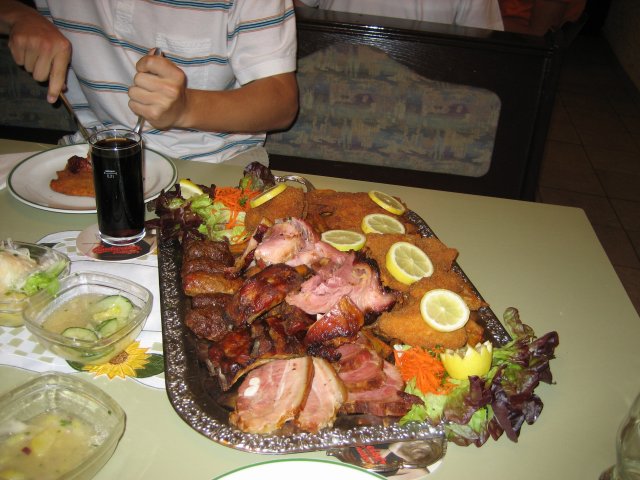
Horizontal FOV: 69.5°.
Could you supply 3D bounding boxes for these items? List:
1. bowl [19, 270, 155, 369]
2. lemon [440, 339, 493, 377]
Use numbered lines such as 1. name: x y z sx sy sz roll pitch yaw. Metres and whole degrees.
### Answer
1. bowl: -0.600 0.217 1.227 0.223 0.108 0.235 10 45 -10
2. lemon: 0.346 0.279 1.100 0.089 0.088 0.062 -5 92 -25
